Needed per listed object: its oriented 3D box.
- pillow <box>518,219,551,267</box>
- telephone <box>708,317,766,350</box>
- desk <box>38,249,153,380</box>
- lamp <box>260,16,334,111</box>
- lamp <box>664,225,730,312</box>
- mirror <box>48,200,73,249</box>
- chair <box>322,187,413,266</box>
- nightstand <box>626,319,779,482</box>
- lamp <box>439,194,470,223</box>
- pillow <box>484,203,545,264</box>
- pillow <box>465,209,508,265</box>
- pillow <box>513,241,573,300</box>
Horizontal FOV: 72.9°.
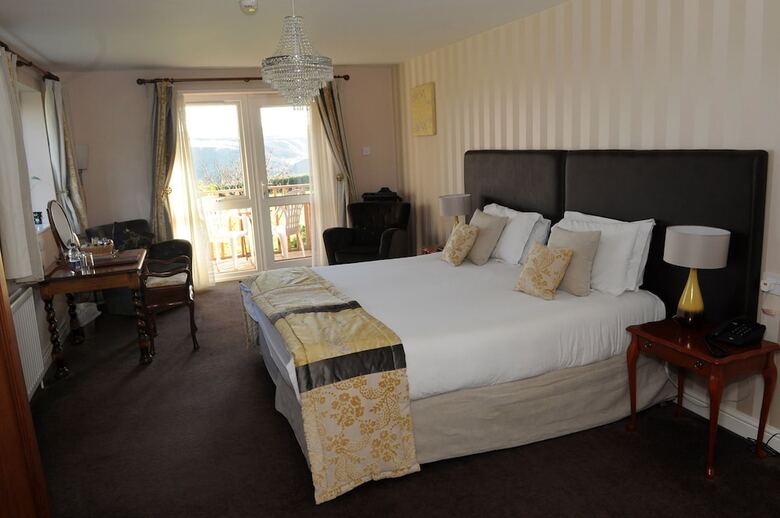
[{"bbox_3d":[1.568,-0.196,5.526,0.122,0.428,0.405,19,-26,0],"label":"pillow"},{"bbox_3d":[2.556,0.542,3.870,0.302,0.122,0.235,-9,14,-19],"label":"telephone"},{"bbox_3d":[-3.201,0.561,5.912,0.994,0.952,1.270,-7,9,-20],"label":"desk"},{"bbox_3d":[-0.904,-1.813,4.949,0.762,0.894,0.755,-12,17,-42],"label":"lamp"},{"bbox_3d":[2.354,0.082,4.075,0.403,0.670,0.446,2,15,28],"label":"lamp"},{"bbox_3d":[-3.722,-0.374,5.945,0.057,0.550,0.463,-13,-24,-9],"label":"mirror"},{"bbox_3d":[-0.251,-0.503,7.903,1.103,1.428,1.171,3,9,26],"label":"chair"},{"bbox_3d":[2.449,0.987,4.210,0.791,1.022,0.936,-13,15,-31],"label":"nightstand"},{"bbox_3d":[0.805,-0.653,6.685,0.402,0.455,0.385,-4,19,-13],"label":"lamp"},{"bbox_3d":[1.341,-0.208,5.540,0.173,0.576,0.585,20,0,-36],"label":"pillow"},{"bbox_3d":[1.012,-0.225,5.615,0.157,0.494,0.514,20,5,-38],"label":"pillow"},{"bbox_3d":[1.345,0.112,4.608,0.143,0.452,0.471,21,5,-27],"label":"pillow"}]
